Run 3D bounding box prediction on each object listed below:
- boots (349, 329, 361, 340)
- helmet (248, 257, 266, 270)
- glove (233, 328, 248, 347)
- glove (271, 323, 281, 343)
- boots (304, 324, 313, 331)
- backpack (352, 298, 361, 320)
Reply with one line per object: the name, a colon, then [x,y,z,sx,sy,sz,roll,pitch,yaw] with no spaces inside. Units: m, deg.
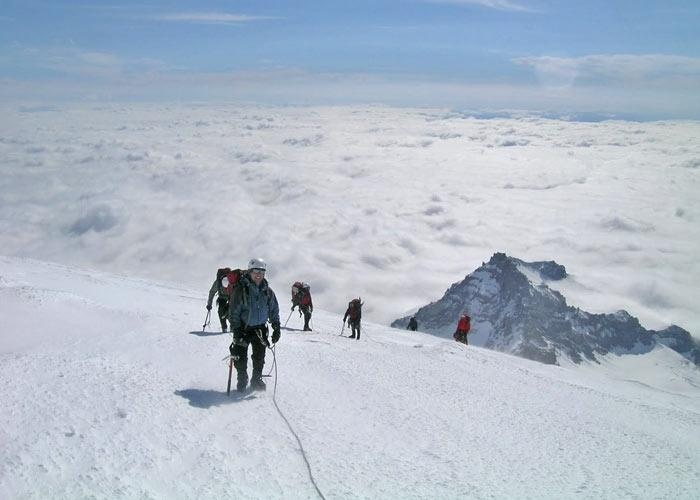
boots: [0.273,4.091,23.137,0.309,0.526,0.580,0,9,-44]
helmet: [-2.180,0.342,11.112,0.381,0.264,0.513,7,0,-12]
glove: [-2.604,2.040,11.043,0.299,0.376,0.413,2,-7,-26]
glove: [-1.760,1.976,11.302,0.375,0.454,0.179,0,-6,-8]
boots: [-1.941,3.662,22.188,0.464,0.410,0.215,-3,6,-12]
backpack: [0.233,2.965,23.815,0.400,0.883,0.622,3,-2,34]
